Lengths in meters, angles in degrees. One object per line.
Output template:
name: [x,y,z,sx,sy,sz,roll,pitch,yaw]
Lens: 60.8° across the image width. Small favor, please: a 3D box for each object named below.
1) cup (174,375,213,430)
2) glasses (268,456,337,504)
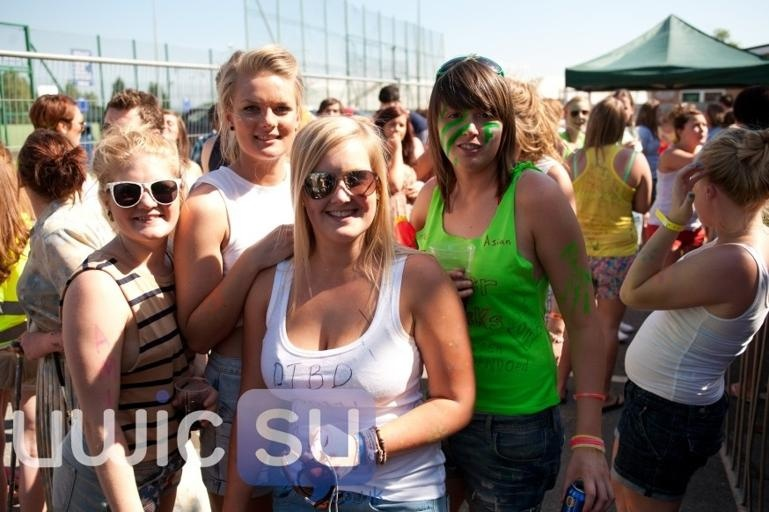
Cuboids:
cup: [-0.997,0.742,3.346,0.172,0.213,0.194,2,9,8]
glasses: [-0.350,1.045,3.056,0.222,0.127,0.180,1,12,6]
